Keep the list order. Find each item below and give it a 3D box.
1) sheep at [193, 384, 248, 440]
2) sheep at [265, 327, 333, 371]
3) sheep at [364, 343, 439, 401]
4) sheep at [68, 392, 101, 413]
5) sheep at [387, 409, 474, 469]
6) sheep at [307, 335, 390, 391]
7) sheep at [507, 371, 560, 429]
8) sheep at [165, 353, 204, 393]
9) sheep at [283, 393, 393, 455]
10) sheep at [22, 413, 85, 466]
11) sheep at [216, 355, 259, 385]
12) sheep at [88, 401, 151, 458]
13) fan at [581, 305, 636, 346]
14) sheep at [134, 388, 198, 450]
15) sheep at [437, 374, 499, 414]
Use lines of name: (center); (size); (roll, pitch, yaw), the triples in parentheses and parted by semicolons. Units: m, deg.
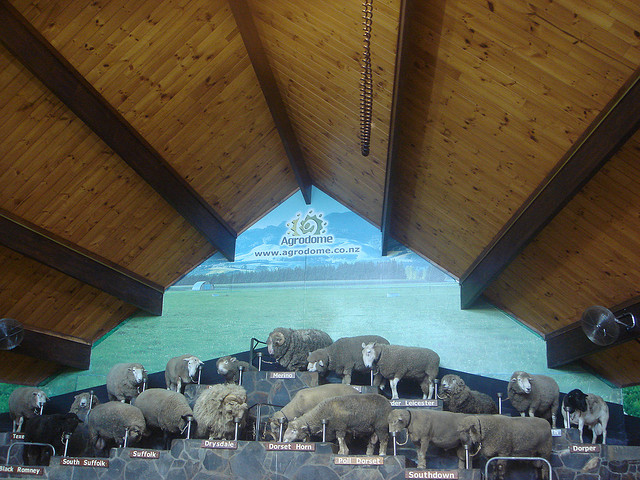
sheep: (-1.571, 2.665, 7.608); (1.009, 0.781, 0.693); (-9, -27, 18)
sheep: (-0.485, 2.355, 10.362); (0.715, 0.978, 1.808); (-3, -5, 43)
sheep: (1.645, 2.620, 9.693); (2.088, 1.040, 0.550); (14, -19, -32)
sheep: (-4.842, 3.274, 10.003); (0.517, 0.354, 0.680); (2, -14, -12)
sheep: (1.650, 2.885, 7.158); (1.342, 0.800, 0.568); (16, -29, -30)
sheep: (0.539, 2.463, 9.858); (2.068, 0.904, 0.617); (4, -10, -29)
sheep: (3.975, 3.018, 9.200); (0.730, 0.974, 1.581); (-8, -22, 40)
sheep: (-2.903, 2.834, 10.280); (0.535, 0.777, 1.214); (19, -28, -35)
sheep: (0.232, 2.744, 7.192); (1.800, 0.778, 0.467); (5, -14, -23)
sheep: (-5.042, 3.694, 9.113); (1.724, 0.820, 0.499); (-15, -22, 29)
sheep: (-1.751, 2.655, 9.959); (1.016, 0.600, 0.400); (20, -46, -40)
sheep: (-3.612, 3.386, 8.633); (1.867, 0.971, 0.532); (-10, -17, 37)
fan: (4.543, 1.315, 7.779); (0.758, 0.500, 0.632); (-5, 8, -40)
sheep: (-2.729, 3.180, 8.711); (1.564, 0.980, 0.686); (-4, -6, 38)
sheep: (2.828, 2.823, 8.821); (1.614, 0.598, 0.537); (14, -27, -23)
